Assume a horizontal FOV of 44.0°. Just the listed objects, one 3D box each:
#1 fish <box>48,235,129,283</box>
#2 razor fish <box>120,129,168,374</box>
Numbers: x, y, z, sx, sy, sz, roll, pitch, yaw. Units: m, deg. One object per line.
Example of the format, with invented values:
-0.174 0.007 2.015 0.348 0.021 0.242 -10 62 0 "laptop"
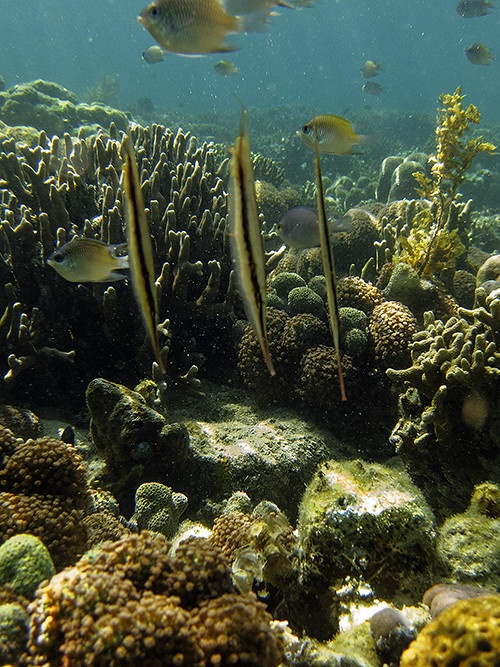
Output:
-1.155 -0.519 4.413 0.529 0.334 0.247 -3 24 -1 "fish"
-0.418 -0.307 2.355 0.212 0.859 0.194 -8 29 -31 "razor fish"
